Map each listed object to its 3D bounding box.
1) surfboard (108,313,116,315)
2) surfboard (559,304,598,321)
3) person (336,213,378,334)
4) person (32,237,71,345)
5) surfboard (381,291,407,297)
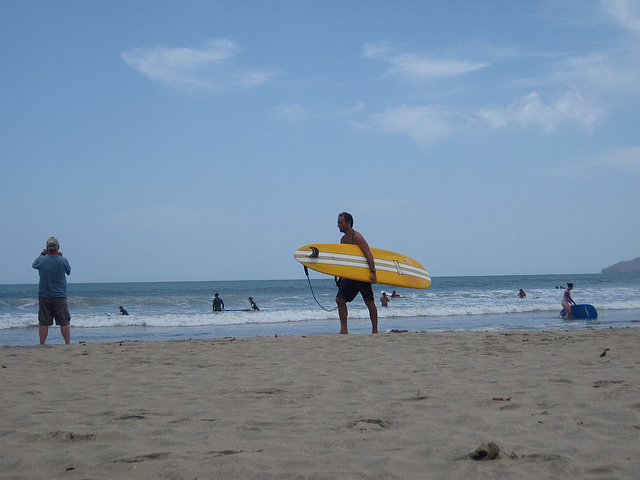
[{"bbox_3d":[-6.129,2.163,20.432,0.196,0.042,0.181,2,0,-11],"label":"surfboard"},{"bbox_3d":[6.060,1.690,16.384,0.757,0.333,0.622,-2,-2,21],"label":"surfboard"},{"bbox_3d":[0.514,0.489,10.047,0.586,1.707,0.881,-1,-2,4],"label":"person"},{"bbox_3d":[-3.547,0.679,9.254,0.428,1.399,0.432,0,-2,-20],"label":"person"},{"bbox_3d":[3.776,2.923,37.530,1.480,0.204,0.097,20,-13,-35],"label":"surfboard"}]
